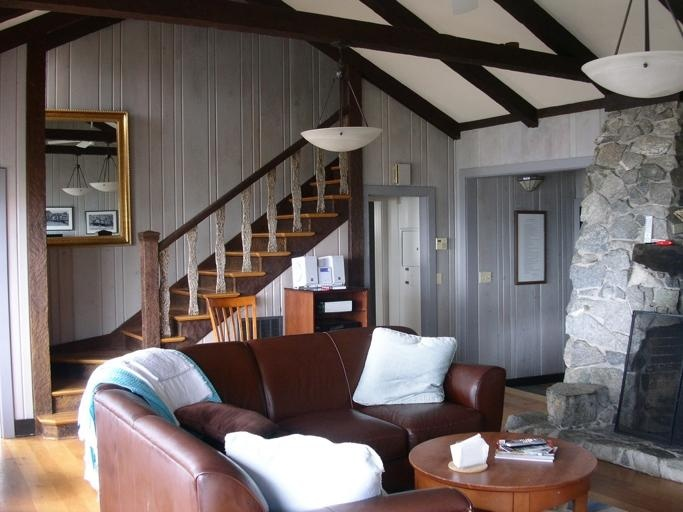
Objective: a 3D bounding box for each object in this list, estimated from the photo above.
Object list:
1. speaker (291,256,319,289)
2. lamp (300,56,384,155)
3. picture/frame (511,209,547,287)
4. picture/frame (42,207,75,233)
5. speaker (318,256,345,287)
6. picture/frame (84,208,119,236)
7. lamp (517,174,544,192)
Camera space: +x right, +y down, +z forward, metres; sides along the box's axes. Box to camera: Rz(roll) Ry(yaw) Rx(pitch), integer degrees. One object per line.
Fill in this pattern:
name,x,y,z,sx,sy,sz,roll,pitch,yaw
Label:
speaker,-0.382,0.169,5.743,0.260,0.456,0.318,3,-5,-45
lamp,0.008,-1.283,4.889,0.754,0.759,0.720,-3,9,-12
picture/frame,2.454,-0.108,7.236,0.539,0.926,0.089,-1,3,-29
picture/frame,-2.986,-0.369,5.847,0.321,0.272,0.031,-1,-4,-25
speaker,-0.127,0.214,5.917,0.276,0.363,0.372,2,-6,-19
picture/frame,-2.653,-0.367,6.104,0.302,0.259,0.029,0,3,-32
lamp,2.423,-0.913,7.113,0.277,0.192,0.454,2,3,41
